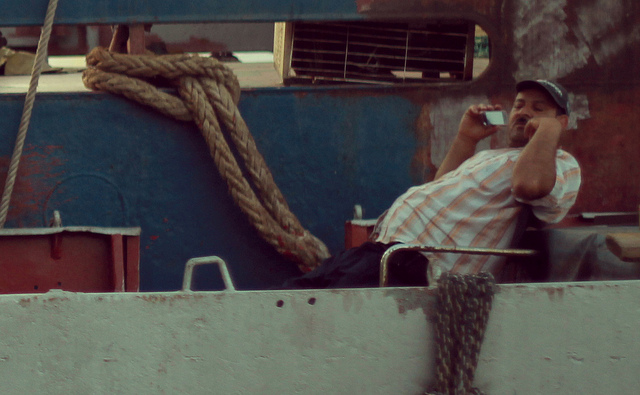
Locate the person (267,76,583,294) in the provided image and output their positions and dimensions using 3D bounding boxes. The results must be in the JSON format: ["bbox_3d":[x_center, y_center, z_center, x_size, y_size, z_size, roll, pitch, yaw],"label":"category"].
[{"bbox_3d":[0.799,-0.061,8.447,2.038,1.207,1.296,-6,12,-8],"label":"person"}]

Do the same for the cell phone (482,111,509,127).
[{"bbox_3d":[1.269,-0.545,8.857,0.158,0.097,0.165,-1,5,13],"label":"cell phone"}]
